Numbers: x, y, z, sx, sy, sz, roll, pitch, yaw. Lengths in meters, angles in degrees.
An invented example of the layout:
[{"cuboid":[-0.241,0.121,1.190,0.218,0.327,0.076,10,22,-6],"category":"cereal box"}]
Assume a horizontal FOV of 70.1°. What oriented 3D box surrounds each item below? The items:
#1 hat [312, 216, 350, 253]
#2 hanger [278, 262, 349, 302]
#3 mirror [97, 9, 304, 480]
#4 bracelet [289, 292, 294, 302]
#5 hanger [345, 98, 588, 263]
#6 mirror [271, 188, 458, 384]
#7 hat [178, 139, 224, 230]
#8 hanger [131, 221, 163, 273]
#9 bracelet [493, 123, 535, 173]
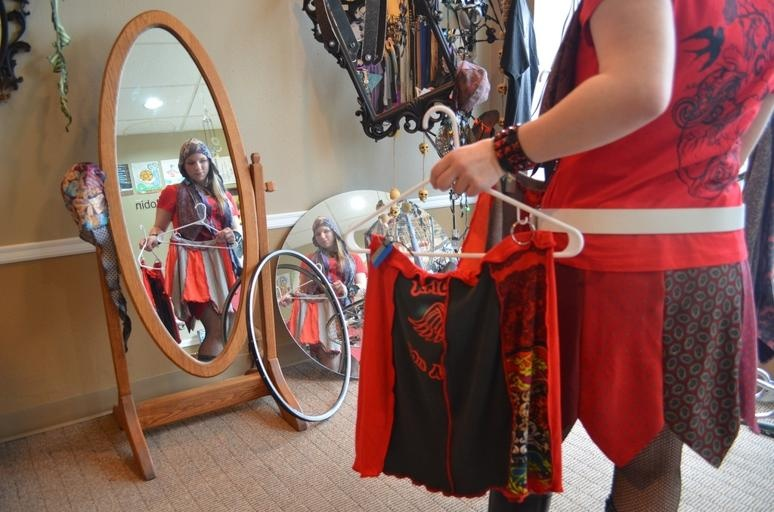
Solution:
[{"cuboid":[-0.298,-0.092,2.926,0.149,0.218,0.095,-29,11,-17],"category":"hat"},{"cuboid":[-0.373,0.156,2.849,0.289,0.182,0.075,-1,10,0],"category":"hanger"},{"cuboid":[-0.852,-0.017,2.331,0.837,1.845,0.467,-12,31,-30],"category":"mirror"},{"cuboid":[-0.488,0.202,2.825,0.031,0.032,0.007,11,2,-21],"category":"bracelet"},{"cuboid":[0.247,-0.313,2.134,1.023,0.673,0.031,3,30,22],"category":"hanger"},{"cuboid":[-0.172,0.134,2.369,0.894,0.948,0.046,-8,-5,-30],"category":"mirror"},{"cuboid":[-0.788,-0.340,2.387,0.153,0.286,0.074,-5,17,24],"category":"hat"},{"cuboid":[-0.996,-0.042,2.277,0.185,0.241,0.010,6,0,-40],"category":"hanger"},{"cuboid":[0.307,-0.266,1.364,0.057,0.102,0.112,-10,2,8],"category":"bracelet"}]
